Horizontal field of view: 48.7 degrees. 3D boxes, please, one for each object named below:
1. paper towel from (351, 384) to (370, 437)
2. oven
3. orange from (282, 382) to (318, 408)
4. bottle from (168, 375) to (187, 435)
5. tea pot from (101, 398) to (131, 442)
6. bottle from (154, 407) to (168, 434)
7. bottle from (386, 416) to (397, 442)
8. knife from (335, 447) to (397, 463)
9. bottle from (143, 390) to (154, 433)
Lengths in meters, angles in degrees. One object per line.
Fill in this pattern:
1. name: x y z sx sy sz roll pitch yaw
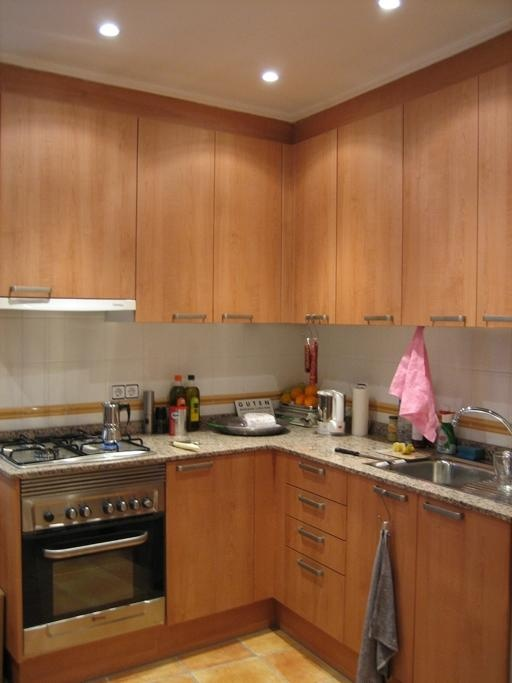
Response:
1. paper towel: 0.547 0.360 2.975 0.080 0.255 0.184 0 2 9
2. oven: -0.711 0.822 2.439 0.614 0.753 0.543 -4 15 -34
3. orange: 0.272 0.329 3.464 0.180 0.102 0.245 0 0 9
4. bottle: -0.417 0.327 2.999 0.094 0.297 0.307 -1 2 -9
5. tea pot: -0.675 0.376 2.712 0.177 0.217 0.113 2 -3 -27
6. bottle: -0.485 0.410 3.018 0.072 0.135 0.148 0 2 13
7. bottle: 0.676 0.431 2.789 0.044 0.116 0.103 0 2 17
8. knife: 0.473 0.486 2.428 0.075 0.029 0.325 -2 2 -34
9. bottle: -0.560 0.367 2.940 0.054 0.223 0.060 -1 2 -4
